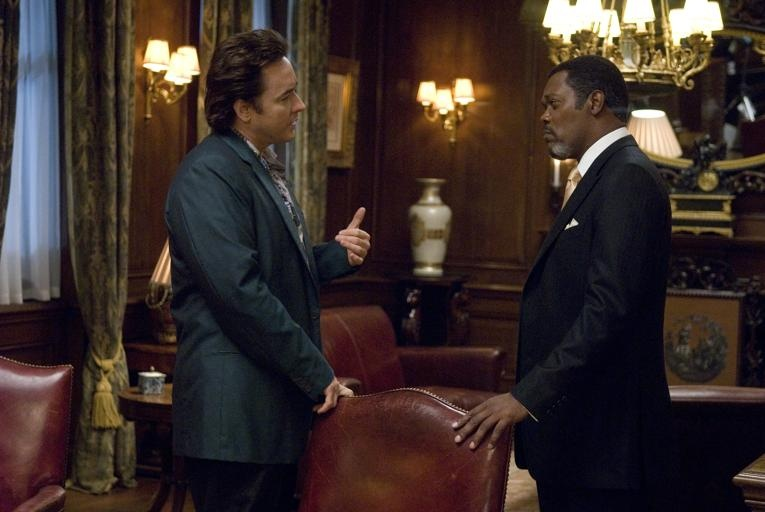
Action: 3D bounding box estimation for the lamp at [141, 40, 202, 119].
[{"bbox_3d":[-1.358,-1.086,4.593,0.312,0.462,0.405,-12,23,-38],"label":"lamp"}]

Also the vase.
[{"bbox_3d":[0.369,-0.222,5.743,0.312,0.763,0.220,0,3,2],"label":"vase"}]

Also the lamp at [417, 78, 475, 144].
[{"bbox_3d":[0.525,-1.182,5.991,0.493,0.542,0.226,1,5,27],"label":"lamp"}]

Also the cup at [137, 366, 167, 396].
[{"bbox_3d":[-1.230,0.670,3.852,0.142,0.153,0.118,1,-1,-8],"label":"cup"}]
